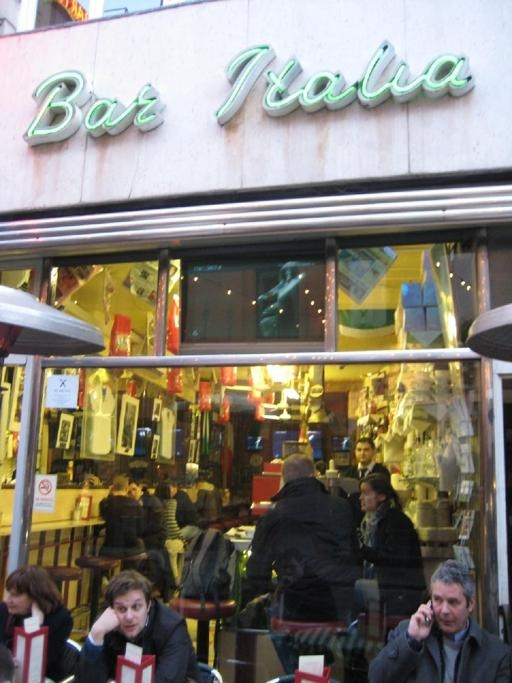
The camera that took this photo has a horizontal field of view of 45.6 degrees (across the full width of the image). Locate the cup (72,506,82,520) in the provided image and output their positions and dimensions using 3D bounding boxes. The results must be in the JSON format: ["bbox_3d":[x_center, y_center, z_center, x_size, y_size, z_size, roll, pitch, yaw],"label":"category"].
[{"bbox_3d":[-1.275,1.235,4.358,0.068,0.083,0.070,2,-15,1],"label":"cup"}]

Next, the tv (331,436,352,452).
[{"bbox_3d":[0.531,0.641,3.826,0.146,0.131,0.083,-1,-38,8],"label":"tv"}]

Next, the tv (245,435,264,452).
[{"bbox_3d":[-0.007,0.667,3.990,0.098,0.092,0.015,-2,-13,16],"label":"tv"}]

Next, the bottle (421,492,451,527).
[{"bbox_3d":[1.055,0.994,3.671,0.179,0.203,0.184,4,-7,-18],"label":"bottle"}]

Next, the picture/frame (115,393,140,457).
[{"bbox_3d":[-0.916,0.610,4.406,0.023,0.418,0.168,-14,-26,33],"label":"picture/frame"}]

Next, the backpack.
[{"bbox_3d":[-0.347,1.498,4.099,0.381,0.497,0.264,-8,-27,26],"label":"backpack"}]

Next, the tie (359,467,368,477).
[{"bbox_3d":[0.670,0.810,3.786,0.037,0.056,0.026,1,-26,10],"label":"tie"}]

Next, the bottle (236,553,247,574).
[{"bbox_3d":[-0.092,1.418,3.924,0.090,0.132,0.046,-3,-12,44],"label":"bottle"}]
